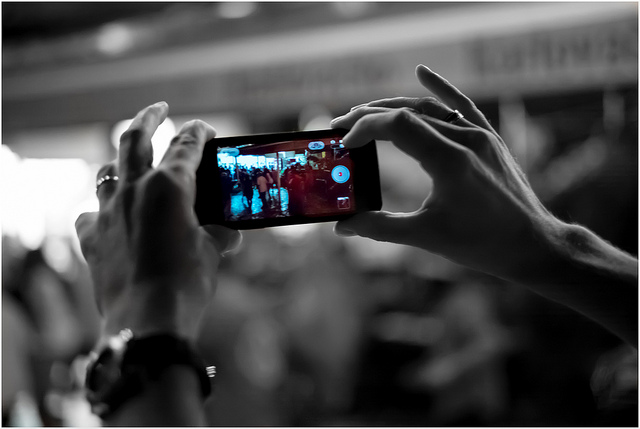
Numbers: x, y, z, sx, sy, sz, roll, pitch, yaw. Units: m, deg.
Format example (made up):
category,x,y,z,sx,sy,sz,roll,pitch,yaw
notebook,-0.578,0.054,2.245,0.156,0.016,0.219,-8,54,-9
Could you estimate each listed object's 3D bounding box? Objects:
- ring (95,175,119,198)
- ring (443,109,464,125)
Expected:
category,x,y,z,sx,sy,sz,roll,pitch,yaw
ring,-0.502,-0.068,1.456,0.048,0.050,0.020,-2,1,6
ring,0.314,-0.229,1.455,0.015,0.038,0.030,55,36,8
